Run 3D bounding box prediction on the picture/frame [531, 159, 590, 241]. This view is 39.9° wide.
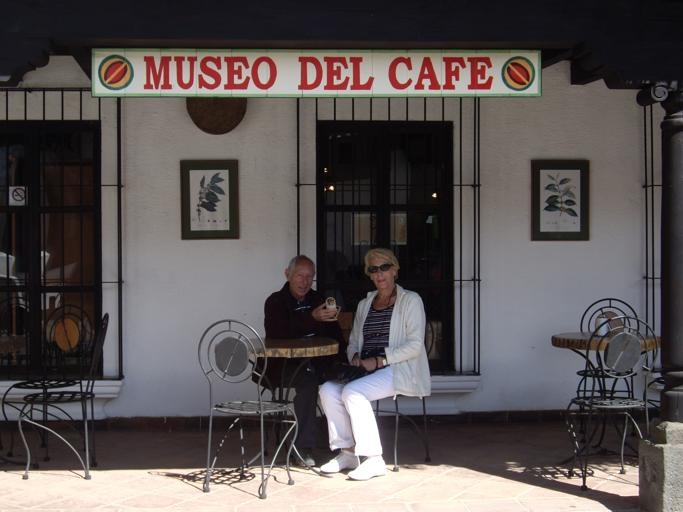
[{"bbox_3d":[2.140,-0.588,9.391,0.720,1.066,0.064,0,0,-5],"label":"picture/frame"}]

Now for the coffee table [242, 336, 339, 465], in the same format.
[{"bbox_3d":[-0.401,1.167,7.820,0.821,0.763,0.880,-4,18,17],"label":"coffee table"}]

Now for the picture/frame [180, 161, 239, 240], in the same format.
[{"bbox_3d":[-1.318,-0.568,9.199,0.673,1.006,0.039,-1,3,-4],"label":"picture/frame"}]

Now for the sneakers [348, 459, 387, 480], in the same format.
[{"bbox_3d":[0.211,1.766,7.781,0.275,0.141,0.152,0,-4,-22],"label":"sneakers"}]

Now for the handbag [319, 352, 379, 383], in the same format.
[{"bbox_3d":[-0.002,0.993,8.108,0.251,0.145,0.319,-5,-4,-34],"label":"handbag"}]

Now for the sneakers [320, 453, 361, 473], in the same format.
[{"bbox_3d":[-0.023,1.746,7.965,0.370,0.188,0.139,0,-4,-30],"label":"sneakers"}]

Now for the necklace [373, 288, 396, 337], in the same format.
[{"bbox_3d":[0.362,0.507,8.117,0.275,0.417,0.207,-10,-22,28],"label":"necklace"}]
